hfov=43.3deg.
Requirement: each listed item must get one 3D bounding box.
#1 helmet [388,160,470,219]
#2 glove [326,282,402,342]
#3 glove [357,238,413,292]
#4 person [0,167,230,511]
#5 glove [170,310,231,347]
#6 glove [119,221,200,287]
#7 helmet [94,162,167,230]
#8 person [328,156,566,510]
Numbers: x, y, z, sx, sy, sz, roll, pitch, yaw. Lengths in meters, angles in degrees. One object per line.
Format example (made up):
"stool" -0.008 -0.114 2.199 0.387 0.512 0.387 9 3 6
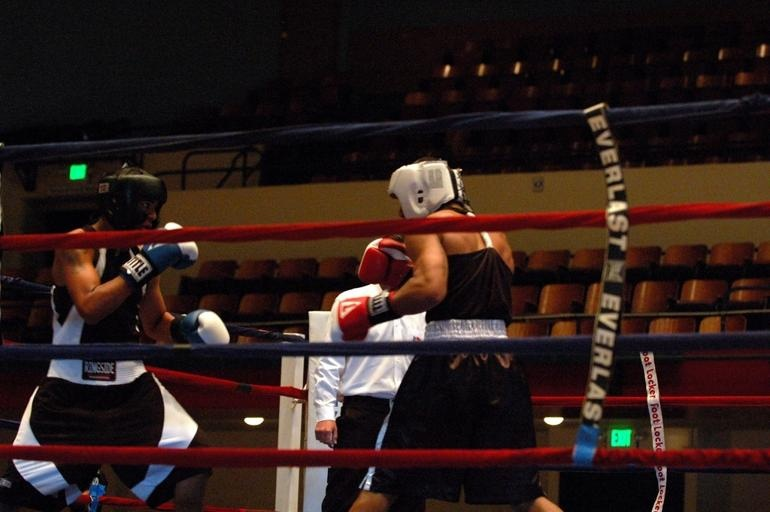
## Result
"helmet" 0.176 -0.303 5.037 0.480 0.338 0.339 3 -9 -4
"glove" -0.135 0.268 4.753 0.383 0.156 0.279 -18 -32 4
"glove" -0.022 0.074 4.951 0.243 0.248 0.297 -5 18 8
"person" -1.369 0.416 4.936 1.077 1.788 0.535 2 -2 -8
"glove" -0.977 0.376 5.106 0.358 0.169 0.153 1 19 42
"glove" -1.159 0.005 4.878 0.263 0.446 0.158 45 -19 35
"helmet" -1.339 -0.323 5.140 0.393 0.275 0.293 6 2 2
"person" 0.324 0.399 4.743 1.058 1.784 0.418 2 -2 7
